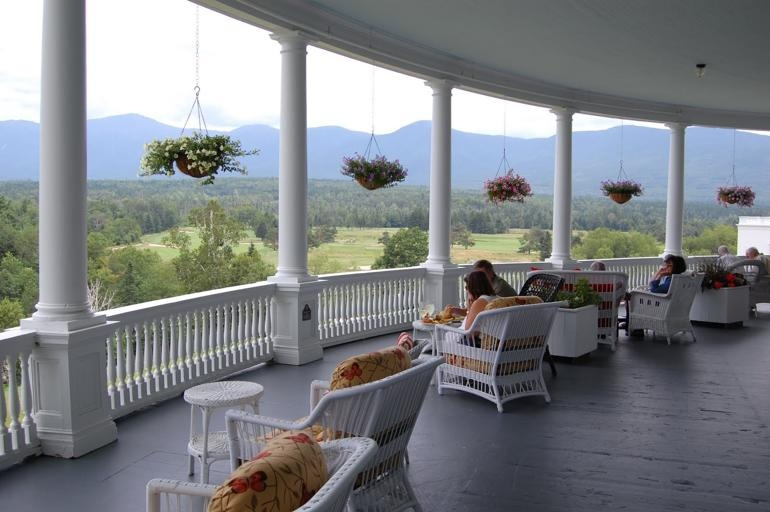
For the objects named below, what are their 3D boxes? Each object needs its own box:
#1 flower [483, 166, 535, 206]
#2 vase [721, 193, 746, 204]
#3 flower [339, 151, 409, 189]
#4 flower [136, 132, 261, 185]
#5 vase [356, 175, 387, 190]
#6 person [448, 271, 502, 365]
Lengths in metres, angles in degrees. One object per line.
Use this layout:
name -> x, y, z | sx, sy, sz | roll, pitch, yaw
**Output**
flower -> 2.292, -1.276, 10.243 | 0.733, 0.571, 0.783 | 6, 9, 29
vase -> 8.131, -1.348, 13.267 | 0.291, 0.122, 0.289 | 1, -4, -13
flower -> -0.270, -1.362, 8.330 | 0.694, 0.413, 0.635 | 4, 1, -25
flower -> -2.199, -1.113, 6.505 | 1.157, 0.507, 1.118 | 9, 21, 32
vase -> -0.229, -1.060, 8.248 | 0.253, 0.109, 0.248 | 2, -2, -34
person -> 1.018, 0.913, 6.893 | 0.565, 1.454, 0.535 | 6, 11, 13
